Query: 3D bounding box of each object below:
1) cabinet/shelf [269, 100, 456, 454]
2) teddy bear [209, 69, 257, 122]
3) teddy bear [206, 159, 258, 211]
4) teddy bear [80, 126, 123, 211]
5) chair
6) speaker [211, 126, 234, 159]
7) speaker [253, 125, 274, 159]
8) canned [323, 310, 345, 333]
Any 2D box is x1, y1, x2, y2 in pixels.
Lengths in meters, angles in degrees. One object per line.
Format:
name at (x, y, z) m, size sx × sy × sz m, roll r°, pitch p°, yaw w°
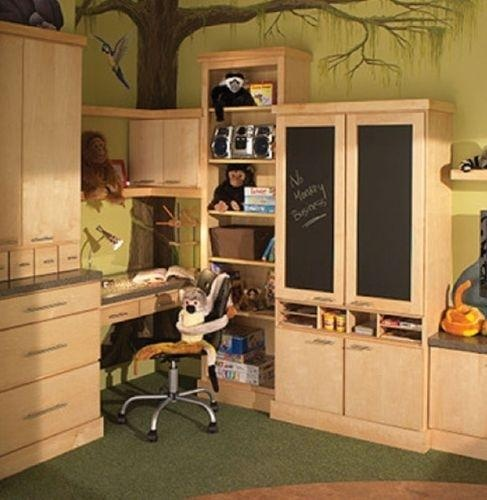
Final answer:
cabinet/shelf at (0.743, 0.115, 3.303) m, size 1.014 × 2.141 × 0.447 m, roll 3°, pitch 4°, yaw 38°
teddy bear at (-0.092, -1.132, 3.683) m, size 0.327 × 0.231 × 0.359 m, roll -3°, pitch 0°, yaw -6°
teddy bear at (-0.056, -0.506, 3.955) m, size 0.420 × 0.397 × 0.359 m, roll 7°, pitch 4°, yaw 20°
teddy bear at (-1.069, -0.600, 3.628) m, size 0.426 × 0.508 × 0.354 m, roll 2°, pitch 17°, yaw -28°
chair at (-0.487, 0.672, 3.434) m, size 0.807 × 0.933 × 0.730 m, roll -1°, pitch -2°, yaw -19°
speaker at (-0.203, -0.824, 3.799) m, size 0.197 × 0.246 × 0.152 m, roll -10°, pitch 24°, yaw -38°
speaker at (0.167, -0.788, 3.631) m, size 0.173 × 0.237 × 0.184 m, roll -14°, pitch 19°, yaw -41°
canned at (0.602, 0.464, 3.331) m, size 0.201 × 0.124 × 0.115 m, roll 1°, pitch 1°, yaw 39°
